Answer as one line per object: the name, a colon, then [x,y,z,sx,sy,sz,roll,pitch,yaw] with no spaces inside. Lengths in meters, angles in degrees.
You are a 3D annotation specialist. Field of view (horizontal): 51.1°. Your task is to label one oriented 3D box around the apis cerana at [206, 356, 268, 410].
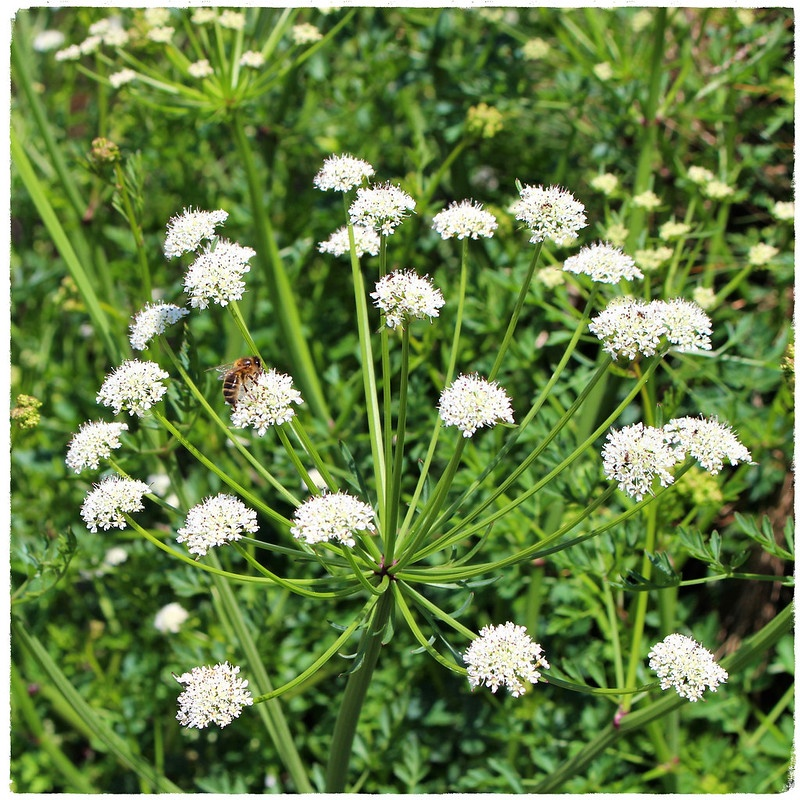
apis cerana: [-0.817,-0.109,4.251,0.257,0.117,0.361,2,27,38]
